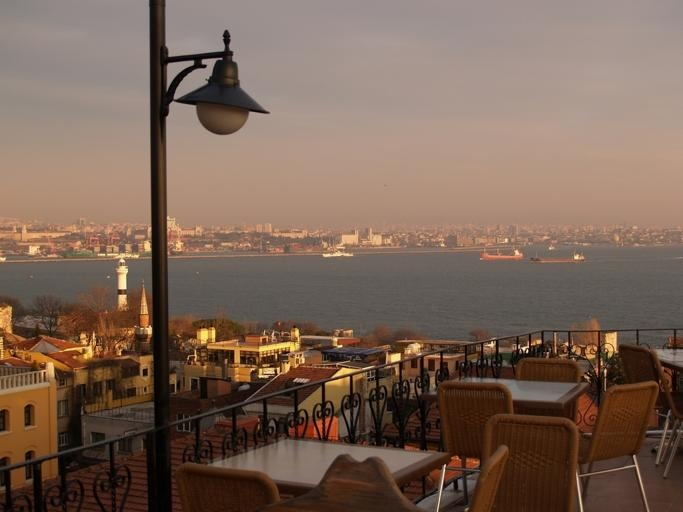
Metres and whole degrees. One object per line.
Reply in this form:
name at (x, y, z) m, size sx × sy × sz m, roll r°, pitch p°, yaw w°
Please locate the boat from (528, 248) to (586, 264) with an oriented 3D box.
boat at (54.785, 0.434, 229.726) m, size 13.157 × 3.423 × 16.195 m, roll -1°, pitch 0°, yaw 6°
